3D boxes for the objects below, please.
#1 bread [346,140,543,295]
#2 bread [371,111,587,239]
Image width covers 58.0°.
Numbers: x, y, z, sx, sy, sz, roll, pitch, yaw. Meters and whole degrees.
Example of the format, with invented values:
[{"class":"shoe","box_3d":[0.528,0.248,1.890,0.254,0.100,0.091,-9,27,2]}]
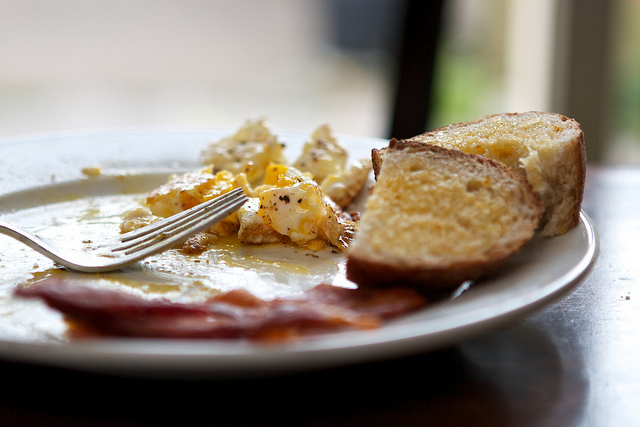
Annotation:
[{"class":"bread","box_3d":[0.215,-0.008,0.945,0.275,0.071,0.280,2,49,6]},{"class":"bread","box_3d":[0.324,-0.098,1.076,0.336,0.096,0.189,-23,40,-21]}]
